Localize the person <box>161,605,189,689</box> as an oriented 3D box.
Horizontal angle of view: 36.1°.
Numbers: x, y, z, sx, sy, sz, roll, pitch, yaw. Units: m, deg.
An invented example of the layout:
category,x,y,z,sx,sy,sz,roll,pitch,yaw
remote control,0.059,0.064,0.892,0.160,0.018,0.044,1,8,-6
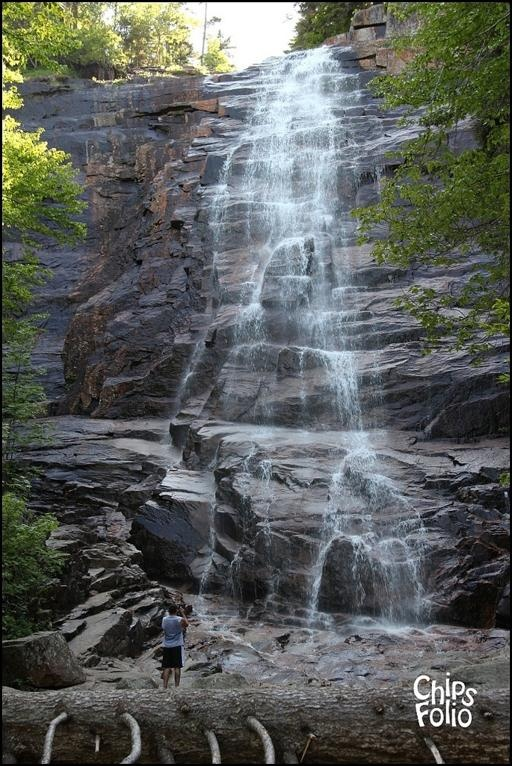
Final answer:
category,x,y,z,sx,sy,sz,roll,pitch,yaw
person,-1.163,3.673,11.144,0.345,1.125,1.230,0,-7,-6
